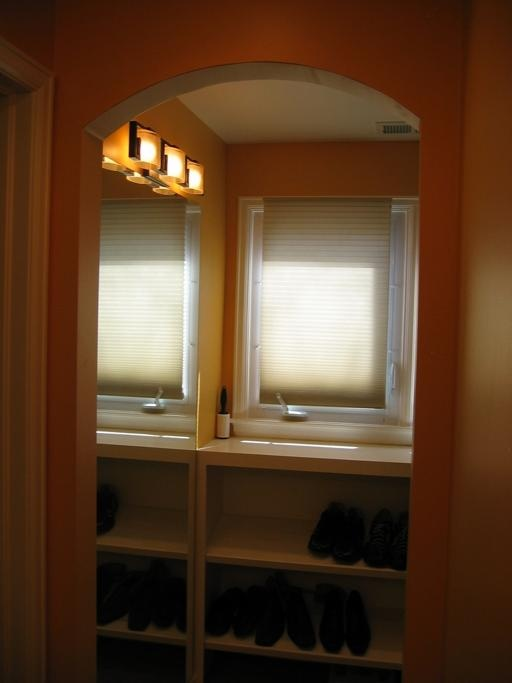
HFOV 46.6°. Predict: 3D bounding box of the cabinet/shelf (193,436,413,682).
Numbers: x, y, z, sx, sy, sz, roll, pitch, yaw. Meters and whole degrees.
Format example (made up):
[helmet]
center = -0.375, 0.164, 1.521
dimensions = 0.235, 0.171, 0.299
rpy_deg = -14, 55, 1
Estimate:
[cabinet/shelf]
center = 0.191, 0.842, 2.257
dimensions = 0.900, 0.973, 0.488
rpy_deg = 0, -5, 11
